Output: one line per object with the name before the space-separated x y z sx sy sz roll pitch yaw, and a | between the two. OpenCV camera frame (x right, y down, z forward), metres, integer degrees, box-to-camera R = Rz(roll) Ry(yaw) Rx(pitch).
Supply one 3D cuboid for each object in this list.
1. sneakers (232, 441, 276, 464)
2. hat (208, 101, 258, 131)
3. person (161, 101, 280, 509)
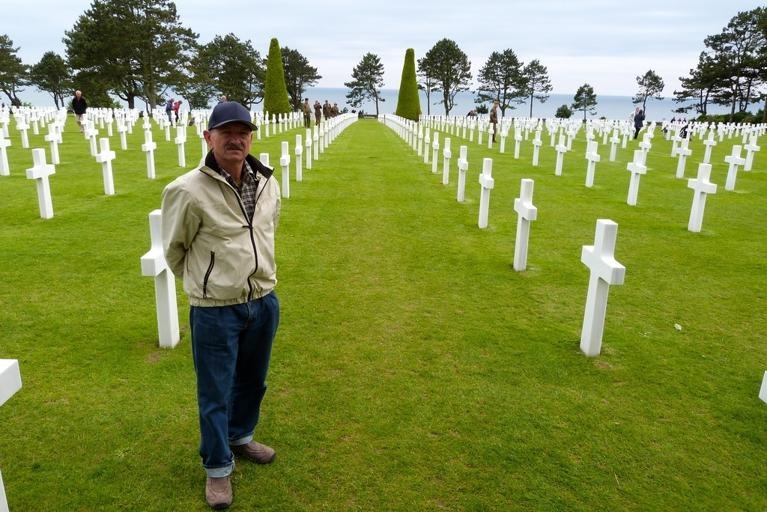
sneakers | -1.067 1.626 4.587 0.400 0.149 0.157 5 6 5
hat | -1.100 -1.012 3.950 0.284 0.172 0.356 -3 12 -25
person | -1.153 0.394 4.079 0.802 2.970 0.754 -6 19 -23
